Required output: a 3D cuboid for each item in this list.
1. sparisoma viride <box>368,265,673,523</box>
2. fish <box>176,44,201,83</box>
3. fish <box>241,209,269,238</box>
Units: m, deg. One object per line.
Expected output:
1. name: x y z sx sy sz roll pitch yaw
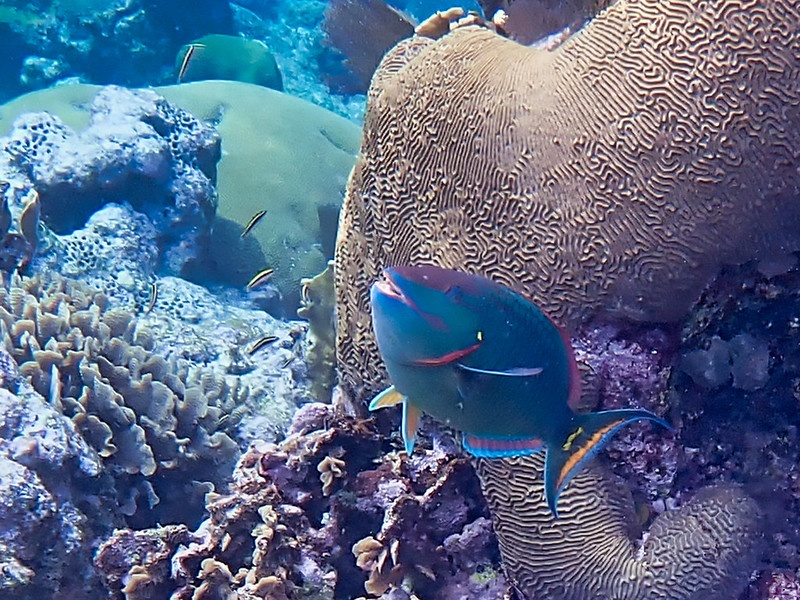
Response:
1. sparisoma viride: 0.422 0.364 4.506 1.281 0.431 0.807 24 81 11
2. fish: -2.102 -2.348 9.399 0.099 0.235 0.348 21 101 -5
3. fish: -1.204 -0.624 7.812 0.353 0.078 0.153 -35 110 -41
